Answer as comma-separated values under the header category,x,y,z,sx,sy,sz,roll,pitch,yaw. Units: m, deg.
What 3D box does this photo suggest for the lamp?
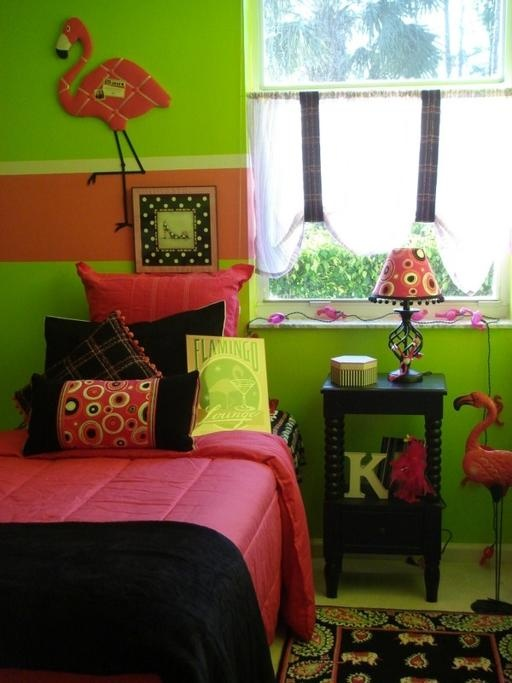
category,x,y,z,sx,sy,sz,roll,pitch,yaw
lamp,0.573,-0.096,2.227,0.286,0.487,0.286,2,5,37

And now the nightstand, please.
category,x,y,z,sx,sy,sz,roll,pitch,yaw
nightstand,0.516,0.611,2.315,0.490,0.743,0.424,0,-20,12

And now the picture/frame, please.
category,x,y,z,sx,sy,sz,roll,pitch,yaw
picture/frame,-0.330,-0.490,2.482,0.430,0.384,0.032,0,7,6

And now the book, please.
category,x,y,z,sx,sy,sz,roll,pitch,yaw
book,-0.104,0.159,1.993,0.365,0.450,0.033,4,-32,-12
